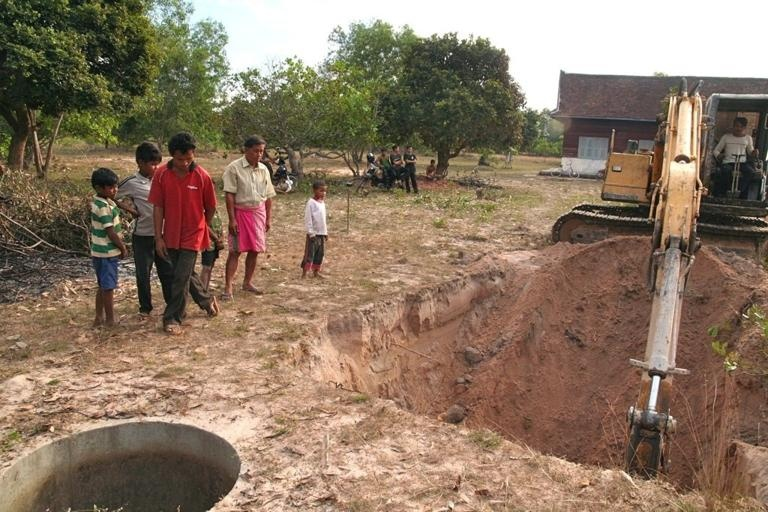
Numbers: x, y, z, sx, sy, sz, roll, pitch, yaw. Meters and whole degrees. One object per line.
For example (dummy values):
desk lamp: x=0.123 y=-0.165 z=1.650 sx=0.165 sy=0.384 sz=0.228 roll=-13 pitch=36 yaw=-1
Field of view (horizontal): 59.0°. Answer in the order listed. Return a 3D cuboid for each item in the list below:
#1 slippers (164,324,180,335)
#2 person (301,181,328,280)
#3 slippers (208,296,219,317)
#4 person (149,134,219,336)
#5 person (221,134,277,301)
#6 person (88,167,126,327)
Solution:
slippers: x=-3.048 y=1.055 z=9.747 sx=0.120 sy=0.076 sz=0.226 roll=-4 pitch=5 yaw=-41
person: x=-1.247 y=-0.449 z=11.902 sx=0.412 sy=1.682 sz=0.646 roll=0 pitch=10 yaw=-7
slippers: x=-2.613 y=0.789 z=10.337 sx=0.119 sy=0.311 sz=0.131 roll=28 pitch=46 yaw=27
person: x=-2.938 y=-0.346 z=9.857 sx=0.521 sy=2.807 sz=0.794 roll=9 pitch=13 yaw=38
person: x=-2.203 y=-0.626 z=10.917 sx=0.804 sy=2.562 sz=0.912 roll=-1 pitch=10 yaw=-11
person: x=-4.108 y=-0.167 z=10.010 sx=0.455 sy=2.246 sz=1.160 roll=-3 pitch=11 yaw=-23
